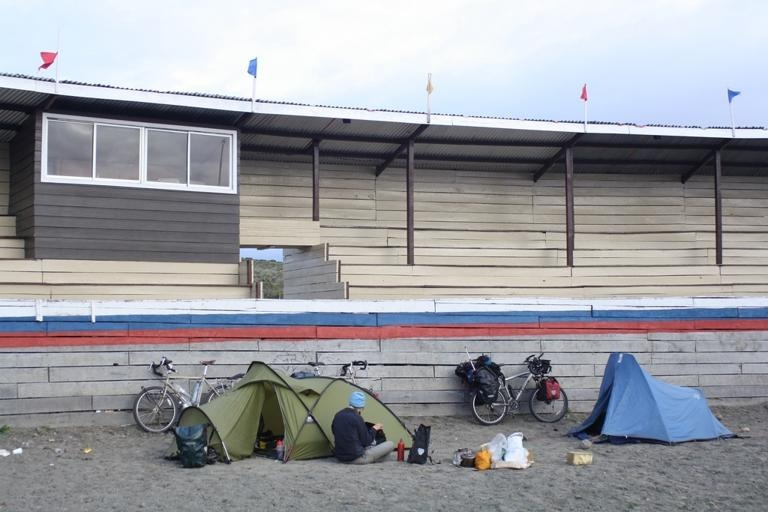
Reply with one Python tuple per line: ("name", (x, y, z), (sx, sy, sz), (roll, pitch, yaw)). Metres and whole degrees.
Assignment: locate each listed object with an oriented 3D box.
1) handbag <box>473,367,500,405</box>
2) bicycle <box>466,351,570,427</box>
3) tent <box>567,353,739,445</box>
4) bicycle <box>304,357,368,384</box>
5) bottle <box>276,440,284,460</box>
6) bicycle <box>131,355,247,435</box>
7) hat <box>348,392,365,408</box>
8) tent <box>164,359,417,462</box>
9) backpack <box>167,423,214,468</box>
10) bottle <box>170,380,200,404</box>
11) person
("handbag", (2.087, 2.681, 23.674), (0.585, 0.764, 0.629), (-6, -21, 10))
("bicycle", (2.749, 2.783, 23.751), (2.314, 1.326, 1.043), (1, -12, -22))
("tent", (5.315, 2.853, 22.819), (2.359, 1.100, 1.920), (2, -14, -2))
("bicycle", (-0.936, 2.311, 23.247), (1.068, 0.594, 0.499), (0, -9, 1))
("bottle", (-1.879, 3.534, 21.224), (0.145, 0.231, 0.293), (-3, -2, -8))
("bicycle", (-3.778, 2.727, 22.736), (2.435, 1.234, 0.829), (-2, -8, -33))
("hat", (-0.530, 2.650, 21.301), (0.312, 0.277, 0.249), (4, 4, 33))
("tent", (-1.694, 2.907, 21.529), (3.000, 1.077, 2.165), (5, -9, -30))
("backpack", (-3.446, 3.400, 20.836), (0.689, 0.717, 0.437), (0, 10, -34))
("bottle", (-3.789, 2.665, 22.462), (0.477, 0.211, 0.450), (6, -15, 2))
("person", (-0.440, 3.165, 21.406), (1.371, 1.215, 0.914), (4, -2, 39))
